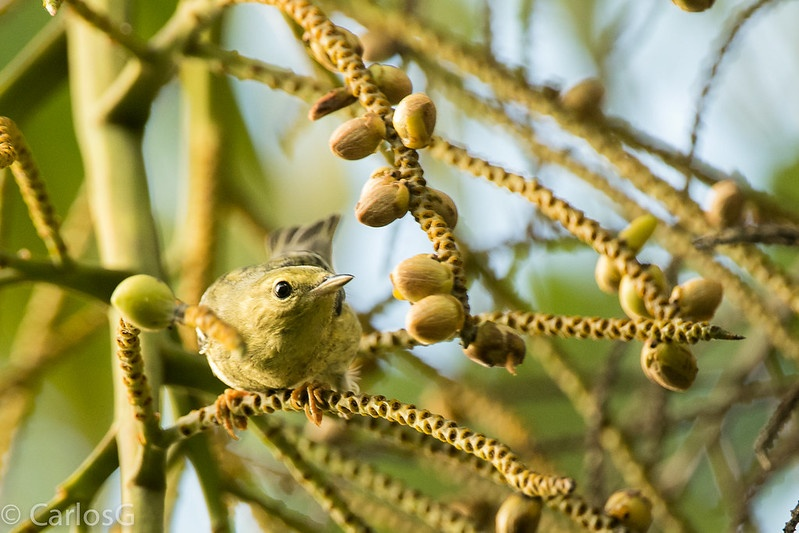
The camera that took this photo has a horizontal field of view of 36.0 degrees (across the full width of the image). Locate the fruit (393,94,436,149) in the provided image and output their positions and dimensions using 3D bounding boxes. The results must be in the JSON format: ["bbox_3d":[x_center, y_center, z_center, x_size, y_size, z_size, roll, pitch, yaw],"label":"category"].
[{"bbox_3d":[0.033,-0.214,1.827,0.073,0.083,0.102,-4,9,4],"label":"fruit"}]

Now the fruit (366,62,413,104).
[{"bbox_3d":[-0.012,-0.276,1.874,0.076,0.065,0.045,-13,15,-26],"label":"fruit"}]

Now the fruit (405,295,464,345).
[{"bbox_3d":[0.051,0.076,1.742,0.089,0.069,0.063,-11,2,-36],"label":"fruit"}]

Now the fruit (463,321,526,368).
[{"bbox_3d":[0.135,0.114,1.755,0.076,0.051,0.057,15,28,-9],"label":"fruit"}]

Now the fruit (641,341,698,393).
[{"bbox_3d":[0.387,0.142,1.756,0.067,0.075,0.044,-49,12,35],"label":"fruit"}]

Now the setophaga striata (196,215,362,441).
[{"bbox_3d":[-0.259,0.088,2.280,0.294,0.319,0.567,-5,19,-20],"label":"setophaga striata"}]

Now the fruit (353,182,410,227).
[{"bbox_3d":[-0.024,-0.088,1.777,0.071,0.057,0.044,-32,-22,-14],"label":"fruit"}]

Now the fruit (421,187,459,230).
[{"bbox_3d":[0.070,-0.087,1.832,0.025,0.089,0.028,-38,21,-15],"label":"fruit"}]

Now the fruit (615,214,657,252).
[{"bbox_3d":[0.343,-0.043,1.791,0.042,0.029,0.080,-31,-9,37],"label":"fruit"}]

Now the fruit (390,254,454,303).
[{"bbox_3d":[0.039,0.018,1.761,0.092,0.077,0.074,-10,10,-32],"label":"fruit"}]

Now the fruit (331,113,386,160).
[{"bbox_3d":[-0.062,-0.188,1.812,0.078,0.060,0.047,-27,44,-5],"label":"fruit"}]

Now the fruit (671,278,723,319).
[{"bbox_3d":[0.427,0.050,1.764,0.080,0.062,0.045,-13,15,-28],"label":"fruit"}]

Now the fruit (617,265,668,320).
[{"bbox_3d":[0.353,0.048,1.783,0.044,0.065,0.075,-51,16,-16],"label":"fruit"}]

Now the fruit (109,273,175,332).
[{"bbox_3d":[-0.353,0.052,1.696,0.090,0.071,0.063,25,4,-30],"label":"fruit"}]
